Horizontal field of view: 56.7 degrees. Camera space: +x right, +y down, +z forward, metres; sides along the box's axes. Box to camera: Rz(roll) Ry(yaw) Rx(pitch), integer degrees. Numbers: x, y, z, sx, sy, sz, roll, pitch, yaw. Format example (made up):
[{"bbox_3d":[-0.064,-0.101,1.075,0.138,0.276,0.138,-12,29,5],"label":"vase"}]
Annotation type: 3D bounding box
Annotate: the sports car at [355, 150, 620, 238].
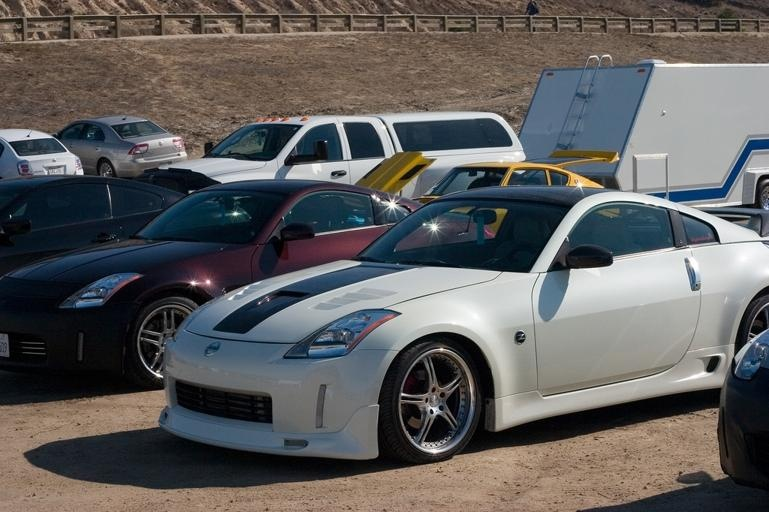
[{"bbox_3d":[2.406,-1.243,13.267,5.263,1.410,2.295,1,1,-17],"label":"sports car"}]
